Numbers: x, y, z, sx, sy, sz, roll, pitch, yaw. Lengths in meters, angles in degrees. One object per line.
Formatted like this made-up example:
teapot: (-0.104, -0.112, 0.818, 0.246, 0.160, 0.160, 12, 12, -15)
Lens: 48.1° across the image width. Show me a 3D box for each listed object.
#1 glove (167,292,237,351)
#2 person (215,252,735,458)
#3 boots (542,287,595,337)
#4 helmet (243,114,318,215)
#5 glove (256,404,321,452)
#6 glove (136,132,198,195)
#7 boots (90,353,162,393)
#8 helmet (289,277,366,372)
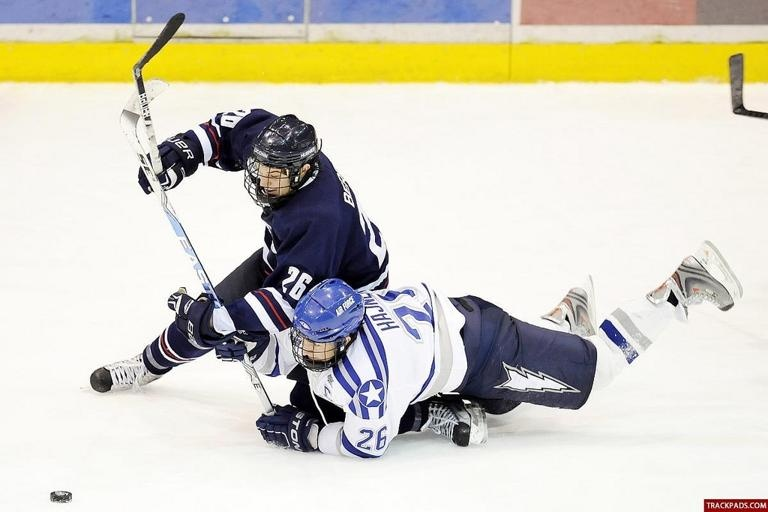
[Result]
glove: (-0.993, 0.327, 4.586, 0.375, 0.149, 0.229, 42, 47, 16)
person: (0.532, 0.432, 4.794, 2.675, 0.895, 1.156, -9, 24, -9)
boots: (1.177, 0.371, 5.326, 0.211, 0.169, 0.478, 38, 36, -14)
helmet: (-0.555, -0.523, 4.717, 0.434, 0.418, 0.344, -24, 45, -35)
glove: (-0.496, 0.891, 4.555, 0.327, 0.135, 0.190, 16, 15, 11)
glove: (-1.224, -0.571, 5.105, 0.236, 0.188, 0.462, 12, 39, 33)
boots: (-1.420, 0.661, 5.018, 0.526, 0.166, 0.199, -13, 1, -19)
helmet: (-0.289, 0.340, 4.439, 0.305, 0.374, 0.408, 33, 45, 30)
